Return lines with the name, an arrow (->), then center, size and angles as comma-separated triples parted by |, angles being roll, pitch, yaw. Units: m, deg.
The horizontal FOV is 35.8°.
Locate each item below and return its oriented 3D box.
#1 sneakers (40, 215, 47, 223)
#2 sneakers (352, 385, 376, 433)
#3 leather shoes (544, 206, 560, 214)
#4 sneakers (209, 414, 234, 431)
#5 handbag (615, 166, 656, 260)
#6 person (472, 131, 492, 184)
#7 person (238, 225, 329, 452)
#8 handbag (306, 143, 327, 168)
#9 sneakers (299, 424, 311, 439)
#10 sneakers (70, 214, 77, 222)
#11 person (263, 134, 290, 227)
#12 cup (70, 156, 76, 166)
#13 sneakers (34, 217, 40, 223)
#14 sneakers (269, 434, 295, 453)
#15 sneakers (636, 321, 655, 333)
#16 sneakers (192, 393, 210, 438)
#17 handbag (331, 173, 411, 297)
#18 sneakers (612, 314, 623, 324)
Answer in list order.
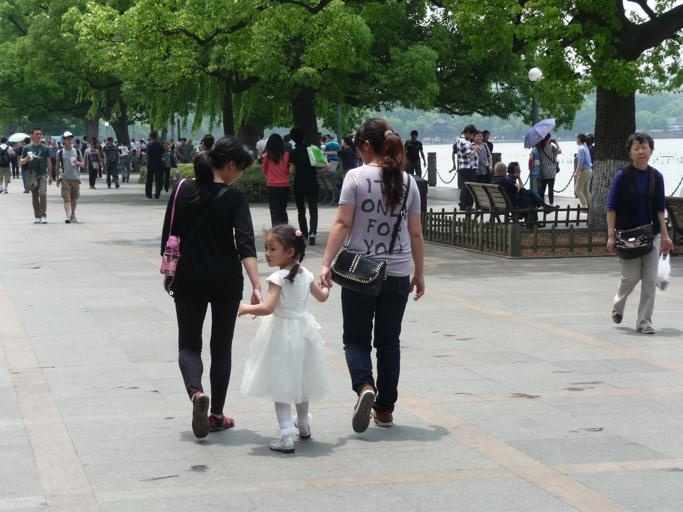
sneakers -> -6.063, -0.758, 21.484 | 0.195, 0.209, 0.534 | 0, 0, -16
sneakers -> 0.143, 1.066, 7.522 | 0.144, 0.343, 0.143 | 11, 2, -10
leather shoes -> 3.297, -0.748, 16.744 | 0.162, 0.117, 0.255 | 1, 6, -7
sneakers -> -0.874, 1.199, 7.655 | 0.076, 0.082, 0.209 | 8, 9, 44
handbag -> 2.962, -0.441, 10.605 | 0.383, 0.911, 0.317 | 2, 9, 15
person -> 3.097, -2.149, 23.131 | 0.331, 1.019, 0.640 | 1, 9, 6
person -> -0.390, 0.550, 7.360 | 0.654, 1.523, 0.491 | -2, 9, -12
handbag -> -0.446, -1.638, 17.616 | 0.137, 0.395, 0.344 | -39, -49, 21
sneakers -> -0.258, 1.244, 7.503 | 0.059, 0.053, 0.136 | 0, 6, -3
sneakers -> -5.558, -0.794, 21.888 | 0.187, 0.207, 0.519 | -1, -1, -15
person -> -1.051, -1.228, 17.208 | 0.430, 1.536, 0.684 | -1, 9, -4
cup -> -5.300, -1.886, 20.961 | 0.117, 0.160, 0.181 | -3, 9, -16
sneakers -> -6.195, -0.724, 21.504 | 0.092, 0.090, 0.173 | 0, 5, -37
sneakers -> -0.376, 1.282, 7.294 | 0.090, 0.121, 0.219 | 0, 3, -41
sneakers -> 3.003, 0.688, 10.416 | 0.179, 0.121, 0.159 | 1, 9, 9
sneakers -> -0.982, 1.105, 7.378 | 0.137, 0.291, 0.136 | -5, 4, -21
handbag -> 0.216, -0.147, 7.599 | 0.578, 0.819, 0.344 | 0, 9, 0
sneakers -> 2.813, 0.627, 10.745 | 0.097, 0.085, 0.111 | 2, 18, -5
